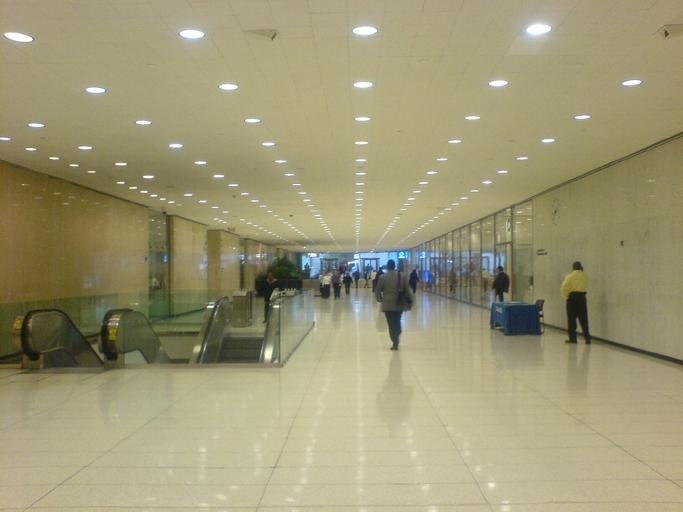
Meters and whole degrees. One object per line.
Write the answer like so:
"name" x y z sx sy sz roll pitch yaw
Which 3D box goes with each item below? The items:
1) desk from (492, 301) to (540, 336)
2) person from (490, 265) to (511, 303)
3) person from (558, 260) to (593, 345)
"desk" 4.371 1.535 13.609 0.769 0.563 1.047 -1 1 -4
"person" 5.530 0.994 18.929 0.520 1.251 1.781 0 1 16
"person" 5.130 1.024 12.022 0.550 1.756 0.354 0 1 22
